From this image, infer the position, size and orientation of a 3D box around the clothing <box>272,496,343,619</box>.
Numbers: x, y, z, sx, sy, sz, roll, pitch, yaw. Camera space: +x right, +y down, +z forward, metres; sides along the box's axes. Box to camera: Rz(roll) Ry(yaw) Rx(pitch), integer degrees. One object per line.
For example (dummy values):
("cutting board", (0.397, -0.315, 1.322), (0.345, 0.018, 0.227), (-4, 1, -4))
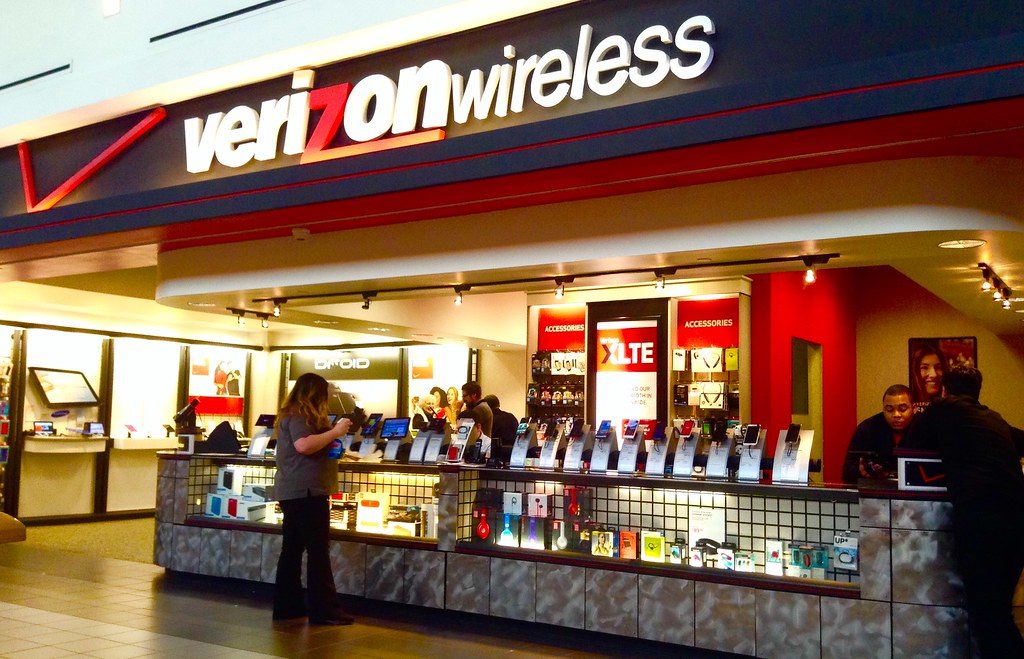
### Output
("clothing", (-1.848, 2.068, 6.922), (0.576, 1.105, 0.464), (4, -10, -15))

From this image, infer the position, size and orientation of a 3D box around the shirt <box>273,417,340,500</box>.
("shirt", (-1.960, 1.137, 7.073), (0.577, 0.765, 0.840), (0, -3, -29))

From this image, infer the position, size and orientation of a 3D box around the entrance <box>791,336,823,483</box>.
("entrance", (4.562, 1.062, 11.590), (0.411, 1.712, 0.867), (-6, -12, 33))

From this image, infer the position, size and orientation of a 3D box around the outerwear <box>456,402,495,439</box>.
("outerwear", (-0.411, 1.041, 8.798), (0.347, 0.567, 0.479), (4, 4, 26))

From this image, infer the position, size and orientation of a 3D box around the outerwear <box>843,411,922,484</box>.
("outerwear", (3.199, 0.990, 6.726), (0.343, 0.736, 0.581), (16, -2, -39))
